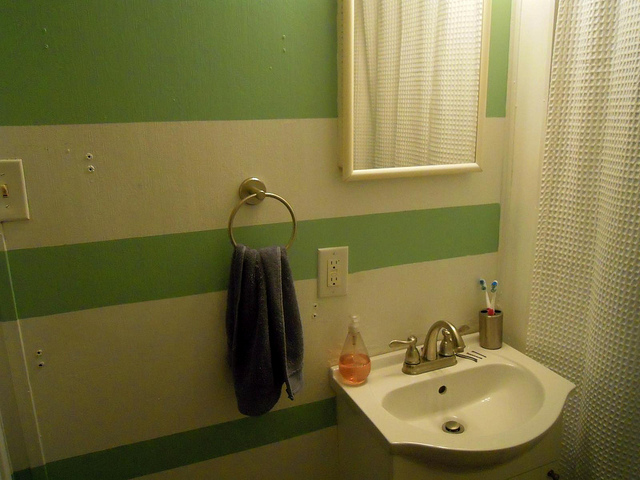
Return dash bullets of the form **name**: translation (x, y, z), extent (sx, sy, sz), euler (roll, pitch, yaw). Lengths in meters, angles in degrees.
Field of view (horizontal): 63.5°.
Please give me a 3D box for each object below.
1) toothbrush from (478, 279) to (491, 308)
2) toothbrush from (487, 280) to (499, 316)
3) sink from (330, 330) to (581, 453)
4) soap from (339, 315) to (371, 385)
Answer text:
- **toothbrush**: translation (0.623, 0.195, 1.965), extent (0.040, 0.125, 0.030), euler (-9, 37, 13)
- **toothbrush**: translation (0.652, 0.199, 1.946), extent (0.030, 0.130, 0.134), euler (3, 15, 21)
- **sink**: translation (0.453, 0.493, 1.730), extent (0.692, 0.246, 0.552), euler (-11, 17, -28)
- **soap**: translation (0.114, 0.362, 1.715), extent (0.100, 0.230, 0.073), euler (-3, 13, -5)
